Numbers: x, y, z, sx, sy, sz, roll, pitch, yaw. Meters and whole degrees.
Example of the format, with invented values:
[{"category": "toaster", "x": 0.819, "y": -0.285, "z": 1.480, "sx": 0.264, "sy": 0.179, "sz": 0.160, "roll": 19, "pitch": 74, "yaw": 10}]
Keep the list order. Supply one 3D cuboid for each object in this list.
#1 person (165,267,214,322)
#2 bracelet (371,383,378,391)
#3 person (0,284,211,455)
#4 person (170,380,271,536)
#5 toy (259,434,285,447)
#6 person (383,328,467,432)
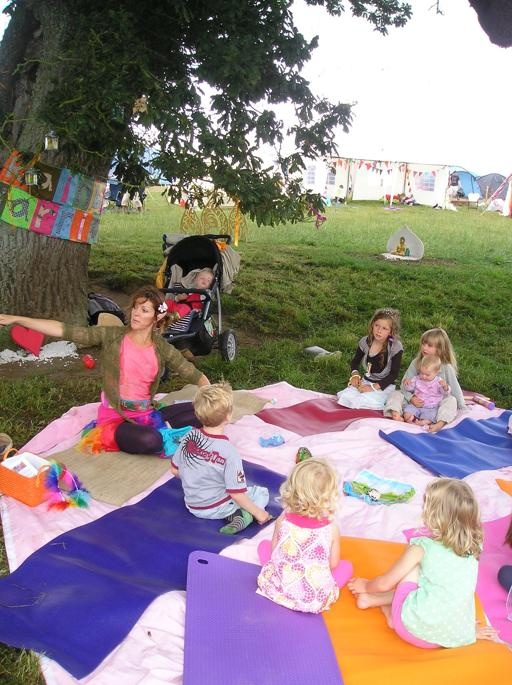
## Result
[{"category": "person", "x": -0.686, "y": -0.616, "z": 5.709, "sx": 0.604, "sy": 0.340, "sz": 1.028, "roll": 4, "pitch": 14, "yaw": -15}, {"category": "bracelet", "x": 1.112, "y": 0.414, "z": 4.616, "sx": 0.046, "sy": 0.057, "sz": 0.028, "roll": 3, "pitch": -11, "yaw": -22}, {"category": "person", "x": -1.268, "y": 0.232, "z": 4.083, "sx": 0.727, "sy": 0.884, "sz": 1.372, "roll": 18, "pitch": 16, "yaw": 40}, {"category": "person", "x": -0.167, "y": 0.584, "z": 2.687, "sx": 0.610, "sy": 0.719, "sz": 0.466, "roll": 13, "pitch": 12, "yaw": 34}, {"category": "toy", "x": 0.112, "y": 0.730, "z": 3.664, "sx": 0.098, "sy": 0.056, "sz": 0.128, "roll": -2, "pitch": 5, "yaw": -6}, {"category": "person", "x": 1.467, "y": 0.224, "z": 4.478, "sx": 0.900, "sy": 0.859, "sz": 0.712, "roll": -18, "pitch": 23, "yaw": -39}]
